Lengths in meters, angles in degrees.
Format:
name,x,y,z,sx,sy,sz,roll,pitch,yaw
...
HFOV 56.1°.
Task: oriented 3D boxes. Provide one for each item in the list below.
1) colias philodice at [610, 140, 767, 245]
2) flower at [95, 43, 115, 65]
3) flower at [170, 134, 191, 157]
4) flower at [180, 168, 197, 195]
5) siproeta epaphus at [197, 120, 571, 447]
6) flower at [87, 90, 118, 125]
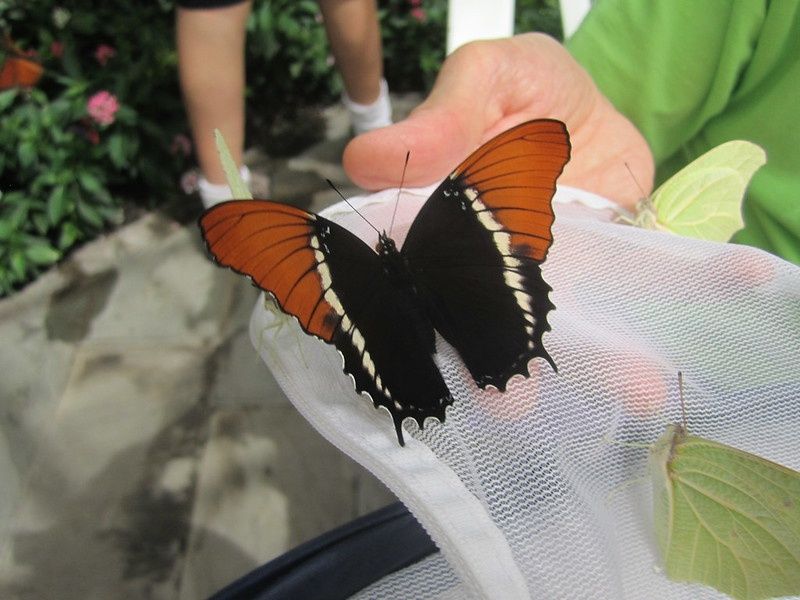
name,x,y,z,sx,sy,sz,roll,pitch,yaw
colias philodice,0.556,-0.213,1.670,0.348,0.265,0.349,-4,-18,23
flower,-0.771,-0.651,1.969,0.051,0.053,0.018,-33,21,-31
flower,-0.651,-0.465,2.237,0.014,0.055,0.053,22,29,39
flower,-0.628,-0.358,2.246,0.056,0.076,0.021,-3,11,-10
siproeta epaphus,0.043,0.004,1.345,0.697,0.476,0.195,-21,15,5
flower,-0.727,-0.469,1.842,0.072,0.086,0.029,-5,7,-32
